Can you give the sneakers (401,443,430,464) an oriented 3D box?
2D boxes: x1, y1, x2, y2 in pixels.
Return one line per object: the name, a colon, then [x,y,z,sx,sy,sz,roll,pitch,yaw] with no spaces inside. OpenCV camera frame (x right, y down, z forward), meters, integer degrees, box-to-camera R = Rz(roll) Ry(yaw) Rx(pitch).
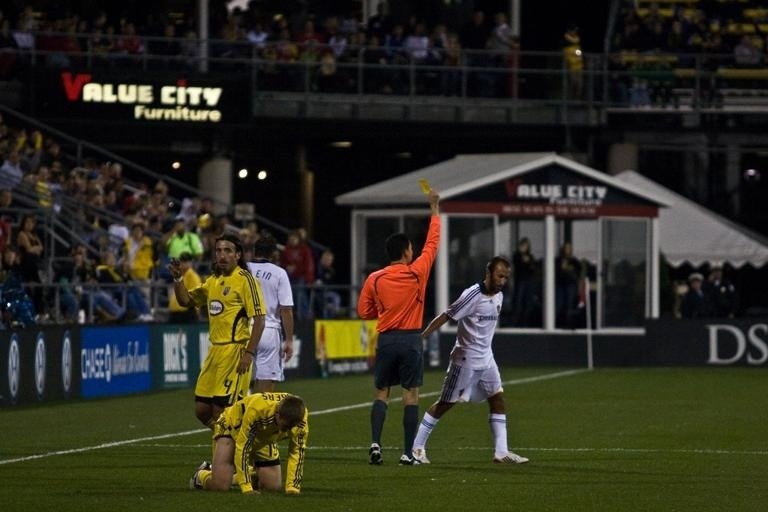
sneakers: [0.579,3.860,36.736,0.220,0.272,0.668,2,0,43]
